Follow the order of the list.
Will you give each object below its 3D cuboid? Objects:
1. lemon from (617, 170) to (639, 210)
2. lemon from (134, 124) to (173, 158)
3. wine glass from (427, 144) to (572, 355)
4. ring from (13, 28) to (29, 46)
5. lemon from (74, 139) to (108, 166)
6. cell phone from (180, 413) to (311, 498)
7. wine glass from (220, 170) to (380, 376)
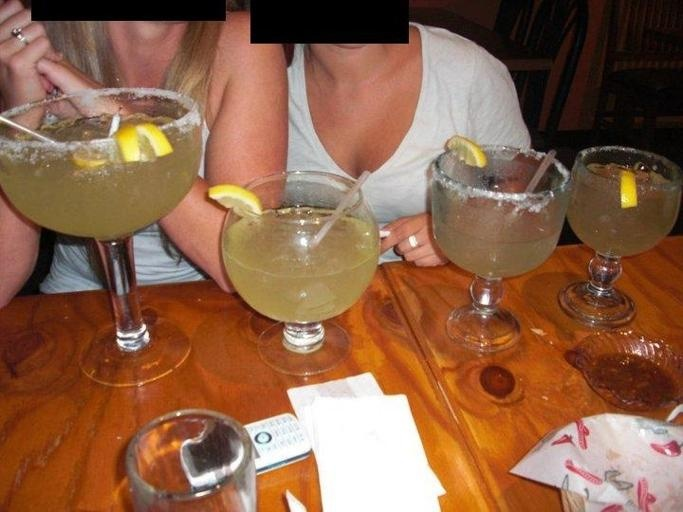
[{"bbox_3d":[0.553,-0.125,1.024,0.039,0.035,0.122,-4,57,26],"label":"lemon"},{"bbox_3d":[-0.301,-0.187,0.846,0.042,0.043,0.051,-30,51,-31],"label":"lemon"},{"bbox_3d":[0.310,-0.003,1.044,0.272,0.397,0.261,-21,41,-21],"label":"wine glass"},{"bbox_3d":[-0.739,-0.504,1.211,0.025,0.011,0.040,-42,91,-13],"label":"ring"},{"bbox_3d":[-0.387,-0.154,0.806,0.044,0.032,0.024,-15,45,-19],"label":"lemon"},{"bbox_3d":[-0.141,0.278,0.757,0.188,0.034,0.088,-10,38,-17],"label":"cell phone"},{"bbox_3d":[-0.054,0.028,1.067,0.380,0.398,0.354,-2,37,-3],"label":"wine glass"}]
